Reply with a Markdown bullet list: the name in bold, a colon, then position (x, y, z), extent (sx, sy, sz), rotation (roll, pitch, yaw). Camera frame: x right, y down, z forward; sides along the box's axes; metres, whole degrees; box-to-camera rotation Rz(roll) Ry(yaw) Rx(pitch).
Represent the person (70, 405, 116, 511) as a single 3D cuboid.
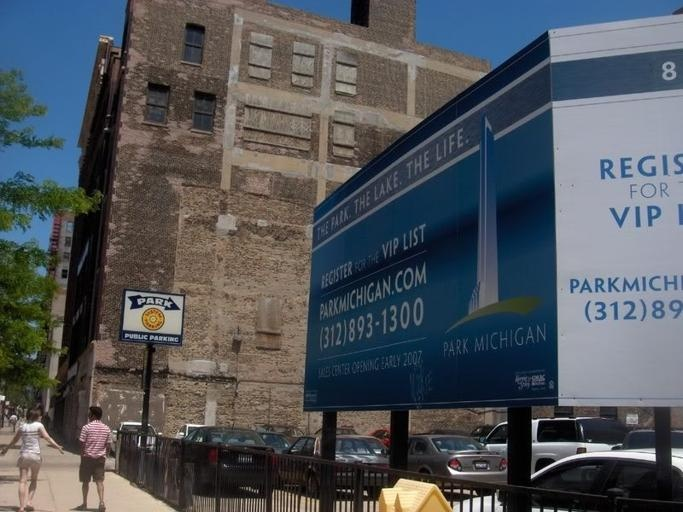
- **person**: position (-5.314, 4.306, 15.642), extent (0.647, 2.142, 1.411), rotation (6, -16, -17)
